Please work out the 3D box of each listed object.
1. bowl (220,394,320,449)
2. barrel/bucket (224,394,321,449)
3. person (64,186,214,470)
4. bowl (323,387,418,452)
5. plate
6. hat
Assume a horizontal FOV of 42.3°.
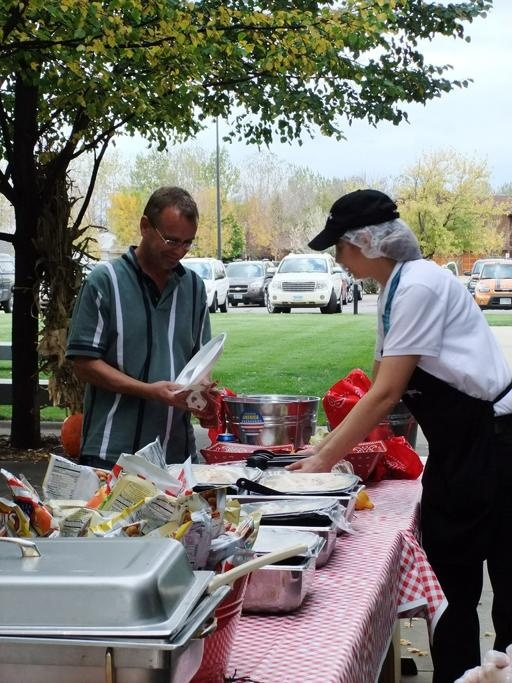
[{"bbox_3d":[0.076,0.328,2.754,0.312,0.232,0.297,-5,7,1],"label":"bowl"},{"bbox_3d":[0.052,0.298,2.675,0.288,0.218,0.277,0,-4,0],"label":"barrel/bucket"},{"bbox_3d":[-0.440,-0.046,2.546,0.526,1.094,0.530,1,4,-3],"label":"person"},{"bbox_3d":[0.486,0.355,2.789,0.336,0.274,0.287,0,6,2],"label":"bowl"},{"bbox_3d":[-0.203,0.069,2.397,0.174,0.193,0.314,1,3,-6],"label":"plate"},{"bbox_3d":[0.333,-0.434,2.307,0.351,0.158,0.203,-14,5,5],"label":"hat"}]
